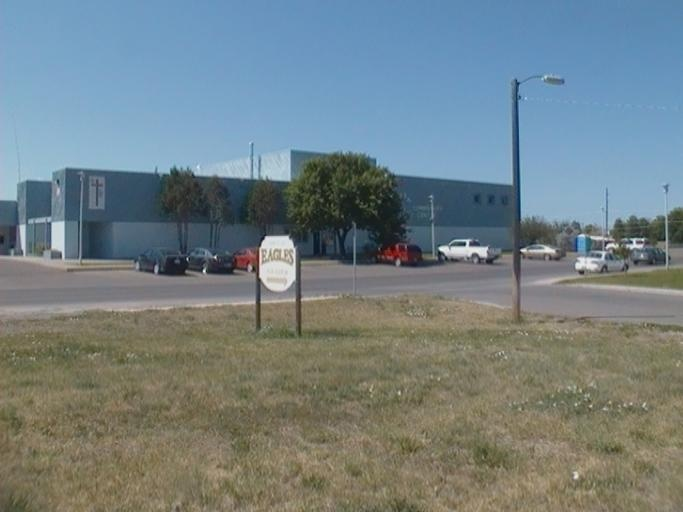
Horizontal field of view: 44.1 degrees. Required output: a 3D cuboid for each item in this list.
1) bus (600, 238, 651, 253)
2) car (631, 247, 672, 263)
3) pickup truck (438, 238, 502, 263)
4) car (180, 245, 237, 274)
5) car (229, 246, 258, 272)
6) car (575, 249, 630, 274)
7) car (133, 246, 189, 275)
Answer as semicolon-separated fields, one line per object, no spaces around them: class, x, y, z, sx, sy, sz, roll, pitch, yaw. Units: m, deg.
bus;20.737;-0.770;61.351;2.889;1.297;1.416;1;0;-1
car;20.250;-0.022;55.136;1.304;1.217;2.237;3;8;40
pickup truck;8.263;0.085;54.965;1.752;1.987;4.216;0;3;-42
car;-6.192;0.257;40.224;1.075;1.070;2.616;0;8;-31
car;-4.769;0.168;41.329;1.003;0.875;2.029;0;6;-30
car;13.553;0.334;43.935;1.232;1.264;2.728;2;5;45
car;-8.087;0.247;38.020;1.180;0.867;1.971;0;5;-40
